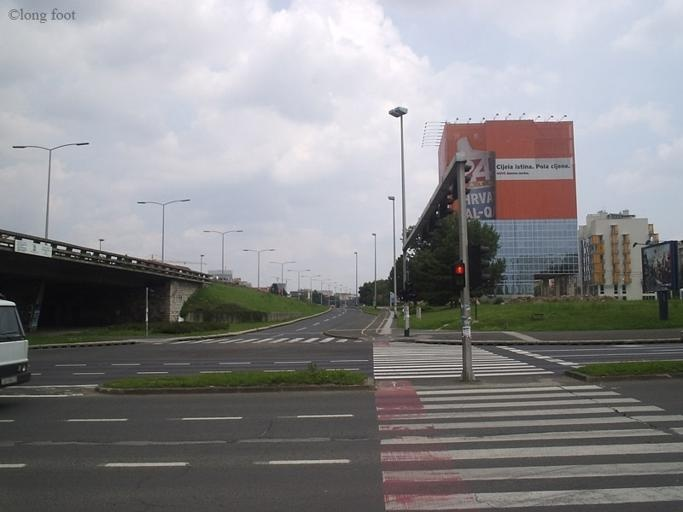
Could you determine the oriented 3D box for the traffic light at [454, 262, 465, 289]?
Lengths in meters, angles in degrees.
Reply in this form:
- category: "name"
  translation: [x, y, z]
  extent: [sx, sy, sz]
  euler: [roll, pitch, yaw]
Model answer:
- category: "traffic light"
  translation: [3.988, 0.649, 25.367]
  extent: [0.375, 0.911, 0.246]
  euler: [-2, 8, -7]
